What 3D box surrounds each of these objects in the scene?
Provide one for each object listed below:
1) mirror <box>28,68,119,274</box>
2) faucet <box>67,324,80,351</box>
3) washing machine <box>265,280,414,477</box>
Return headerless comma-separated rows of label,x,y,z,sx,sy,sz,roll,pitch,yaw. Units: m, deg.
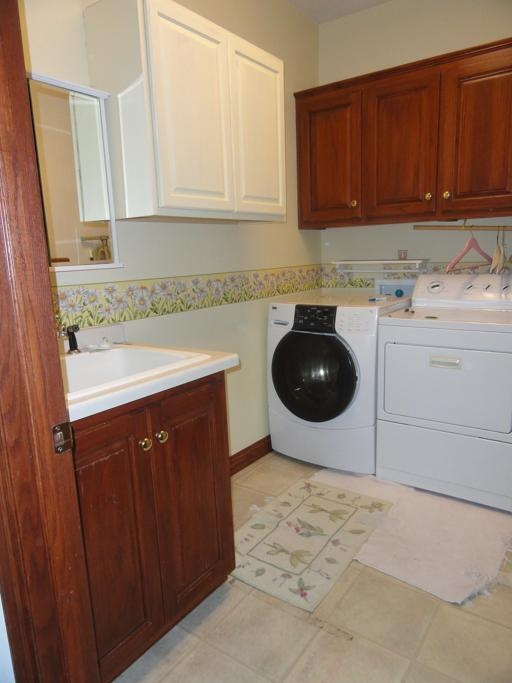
mirror,-0.575,-0.543,1.594,0.093,0.584,0.302,3,11,29
faucet,-0.611,-0.013,1.591,0.036,0.090,0.123,-6,11,-22
washing machine,0.393,0.206,2.872,0.746,1.163,0.861,3,6,33
